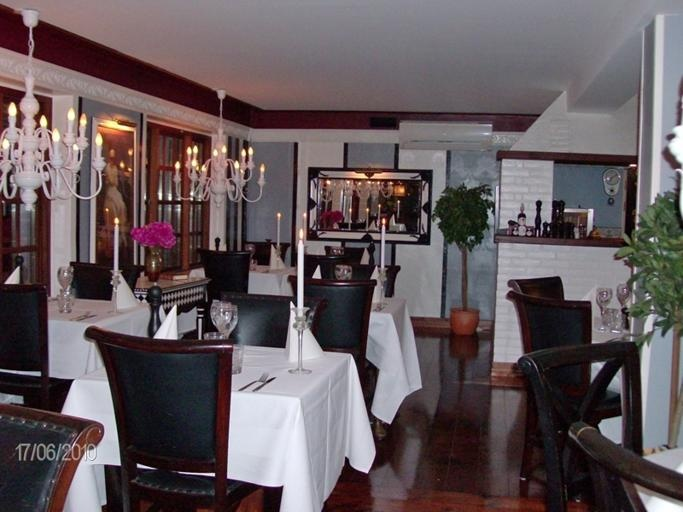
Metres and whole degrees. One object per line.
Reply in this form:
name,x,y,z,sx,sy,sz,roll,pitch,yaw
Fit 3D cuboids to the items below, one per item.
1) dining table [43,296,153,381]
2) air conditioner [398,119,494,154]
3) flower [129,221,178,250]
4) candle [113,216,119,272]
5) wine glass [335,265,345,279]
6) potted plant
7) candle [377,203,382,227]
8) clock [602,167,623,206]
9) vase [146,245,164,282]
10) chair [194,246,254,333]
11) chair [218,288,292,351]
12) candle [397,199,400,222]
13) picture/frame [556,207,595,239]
dining table,-1.549,0.454,3.385,0.524,0.282,0.549,3,6,19
air conditioner,1.459,-1.685,7.478,1.279,0.381,0.227,1,5,2
flower,-1.371,-0.157,3.897,0.278,0.192,0.300,-2,6,-25
candle,-1.468,-0.080,3.492,0.018,0.344,0.209,-1,5,-19
wine glass,-0.018,0.119,4.264,0.076,0.100,0.046,2,-3,11
potted plant,1.625,0.031,7.115,0.671,1.981,0.830,4,6,30
candle,0.543,-0.603,7.744,0.043,0.348,0.072,-4,7,-41
clock,3.218,-0.847,6.378,0.214,0.426,0.062,1,5,0
vase,-1.439,0.059,4.107,0.102,0.326,0.495,-1,6,-18
chair,-1.113,0.284,5.158,0.575,1.003,0.601,3,5,11
chair,-0.439,0.339,2.965,0.290,0.577,0.322,1,-6,5
candle,0.815,-0.672,7.698,0.055,0.297,0.019,2,5,11
picture/frame,2.587,-0.375,5.896,0.358,0.382,0.214,2,-8,4
